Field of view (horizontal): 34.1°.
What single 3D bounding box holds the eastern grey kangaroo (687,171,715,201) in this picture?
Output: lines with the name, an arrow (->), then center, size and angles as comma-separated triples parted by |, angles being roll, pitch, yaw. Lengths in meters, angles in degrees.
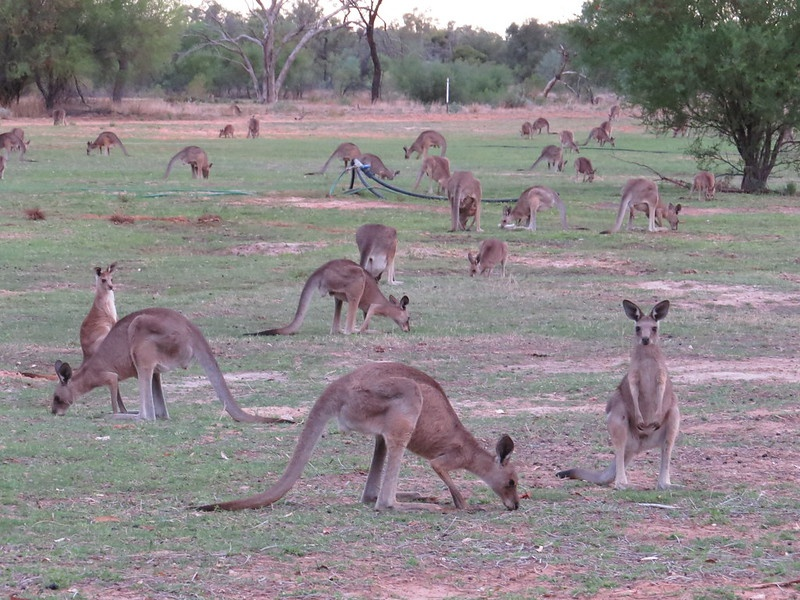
eastern grey kangaroo -> 7.955, -3.048, 34.608 | 0.676, 0.738, 1.509 | 4, 7, 12

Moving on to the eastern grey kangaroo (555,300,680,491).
eastern grey kangaroo -> 2.278, 0.928, 12.937 | 0.907, 1.862, 0.546 | 3, 7, 10
